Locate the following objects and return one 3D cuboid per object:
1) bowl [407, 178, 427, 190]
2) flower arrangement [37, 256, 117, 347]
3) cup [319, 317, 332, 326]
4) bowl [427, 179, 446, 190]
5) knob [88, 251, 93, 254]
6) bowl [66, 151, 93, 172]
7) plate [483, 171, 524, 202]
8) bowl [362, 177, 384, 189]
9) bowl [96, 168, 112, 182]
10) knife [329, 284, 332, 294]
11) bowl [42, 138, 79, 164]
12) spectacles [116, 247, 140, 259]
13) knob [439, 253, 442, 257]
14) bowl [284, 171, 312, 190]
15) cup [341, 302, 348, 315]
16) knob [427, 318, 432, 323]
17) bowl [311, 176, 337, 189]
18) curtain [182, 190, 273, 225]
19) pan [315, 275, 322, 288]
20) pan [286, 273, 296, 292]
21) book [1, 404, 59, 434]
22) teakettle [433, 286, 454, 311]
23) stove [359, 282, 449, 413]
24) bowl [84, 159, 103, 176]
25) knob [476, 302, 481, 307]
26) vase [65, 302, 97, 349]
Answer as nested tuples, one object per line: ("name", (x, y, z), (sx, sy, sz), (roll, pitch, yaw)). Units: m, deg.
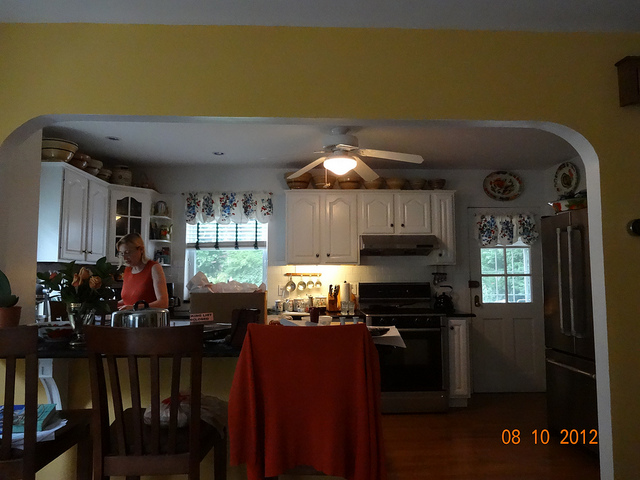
("bowl", (1.071, -0.610, 5.961), (0.137, 0.074, 0.137), (1, -6, 0))
("flower arrangement", (-1.539, 0.380, 3.386), (0.428, 0.522, 0.309), (-3, -2, 31))
("cup", (0.041, 0.577, 3.864), (0.071, 0.055, 0.066), (-1, -6, 0))
("bowl", (1.285, -0.609, 6.013), (0.196, 0.121, 0.177), (-2, -2, 21))
("knob", (-2.246, 0.124, 5.283), (0.026, 0.025, 0.014), (1, -11, -19))
("bowl", (-2.271, -0.737, 5.112), (0.173, 0.113, 0.174), (3, -3, 0))
("plate", (2.120, -0.614, 6.233), (0.469, 0.354, 0.028), (-1, -2, -2))
("bowl", (0.608, -0.624, 5.963), (0.268, 0.133, 0.154), (-1, -2, -16))
("bowl", (-2.194, -0.661, 5.492), (0.101, 0.077, 0.101), (-1, -3, 0))
("knife", (0.118, 0.546, 5.991), (0.020, 0.077, 0.030), (7, -4, -30))
("bowl", (-2.290, -0.783, 4.715), (0.230, 0.114, 0.230), (-1, -4, 0))
("spectacles", (-1.545, 0.104, 4.342), (0.116, 0.041, 0.151), (-18, 9, 9))
("knob", (1.307, 0.161, 5.852), (0.036, 0.034, 0.009), (1, -1, 6))
("bowl", (-0.229, -0.633, 5.759), (0.218, 0.114, 0.218), (-1, -9, 0))
("cup", (0.262, 0.744, 5.826), (0.088, 0.163, 0.087), (1, -1, 0))
("knob", (1.099, 0.811, 5.429), (0.044, 0.042, 0.011), (4, -2, 8))
("bowl", (0.057, -0.627, 5.954), (0.264, 0.145, 0.181), (-2, -2, 1))
("curtain", (-1.030, -0.350, 6.138), (0.987, 0.424, 0.136), (-2, -21, 7))
("pan", (-0.019, 0.492, 6.141), (0.064, 0.130, 0.064), (-2, -3, 13))
("pan", (-0.333, 0.484, 6.049), (0.065, 0.194, 0.086), (-3, -3, 42))
("book", (-1.573, 0.950, 2.901), (0.205, 0.049, 0.206), (1, 1, -4))
("teakettle", (1.352, 0.681, 5.862), (0.205, 0.218, 0.149), (-2, -10, 13))
("stove", (0.602, 1.125, 5.838), (1.151, 1.666, 1.110), (0, -8, -1))
("bowl", (-2.227, -0.711, 5.333), (0.159, 0.122, 0.145), (1, 1, 0))
("knob", (1.793, 0.731, 6.105), (0.042, 0.050, 0.011), (-1, -2, 0))
("vase", (-1.517, 0.533, 3.430), (0.261, 0.262, 0.261), (5, -6, -25))
